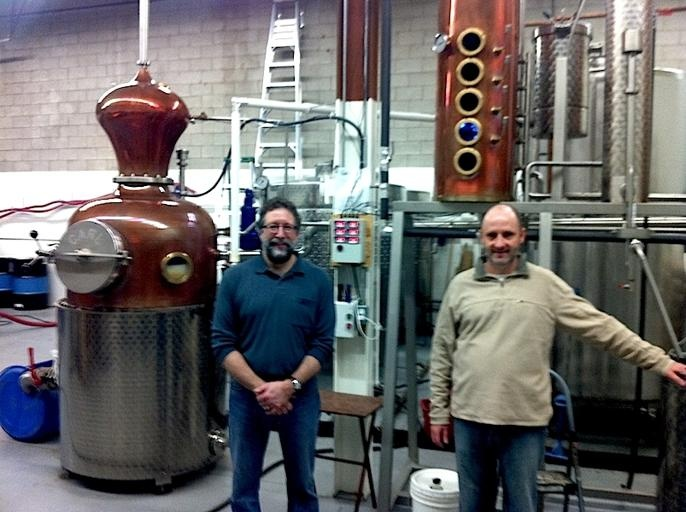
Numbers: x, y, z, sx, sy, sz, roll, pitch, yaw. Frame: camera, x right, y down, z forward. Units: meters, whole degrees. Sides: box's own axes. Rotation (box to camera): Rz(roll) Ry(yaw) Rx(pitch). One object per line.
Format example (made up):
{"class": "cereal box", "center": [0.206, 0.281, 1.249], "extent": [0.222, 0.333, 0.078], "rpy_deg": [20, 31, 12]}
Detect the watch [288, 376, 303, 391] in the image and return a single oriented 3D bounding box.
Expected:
{"class": "watch", "center": [-0.282, 0.766, 4.687], "extent": [0.068, 0.092, 0.090], "rpy_deg": [-16, -2, -20]}

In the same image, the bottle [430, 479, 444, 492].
{"class": "bottle", "center": [0.616, 1.493, 5.084], "extent": [0.062, 0.058, 0.062], "rpy_deg": [1, -13, 1]}

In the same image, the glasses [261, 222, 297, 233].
{"class": "glasses", "center": [-0.391, -0.175, 4.732], "extent": [0.222, 0.048, 0.080], "rpy_deg": [0, 5, -4]}

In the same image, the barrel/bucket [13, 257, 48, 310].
{"class": "barrel/bucket", "center": [-4.585, 0.398, 11.447], "extent": [0.538, 0.760, 0.517], "rpy_deg": [0, 5, 0]}
